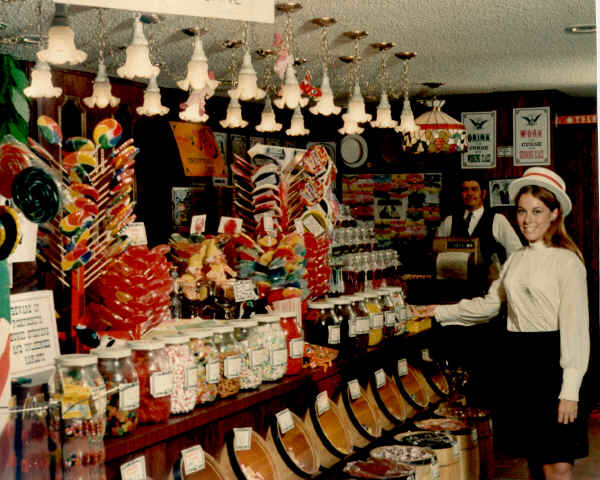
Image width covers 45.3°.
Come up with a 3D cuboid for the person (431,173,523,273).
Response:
[{"bbox_3d":[1.155,-0.058,4.886,0.662,0.744,0.230,4,-36,-1],"label":"person"}]

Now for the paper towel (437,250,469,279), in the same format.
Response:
[{"bbox_3d":[0.998,0.132,4.678,0.207,0.199,0.176,1,2,26],"label":"paper towel"}]

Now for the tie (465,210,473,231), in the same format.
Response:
[{"bbox_3d":[1.177,-0.141,4.993,0.035,0.138,0.033,-11,-39,38],"label":"tie"}]

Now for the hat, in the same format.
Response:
[{"bbox_3d":[1.091,-0.223,3.288,0.300,0.236,0.184,-1,1,34],"label":"hat"}]
